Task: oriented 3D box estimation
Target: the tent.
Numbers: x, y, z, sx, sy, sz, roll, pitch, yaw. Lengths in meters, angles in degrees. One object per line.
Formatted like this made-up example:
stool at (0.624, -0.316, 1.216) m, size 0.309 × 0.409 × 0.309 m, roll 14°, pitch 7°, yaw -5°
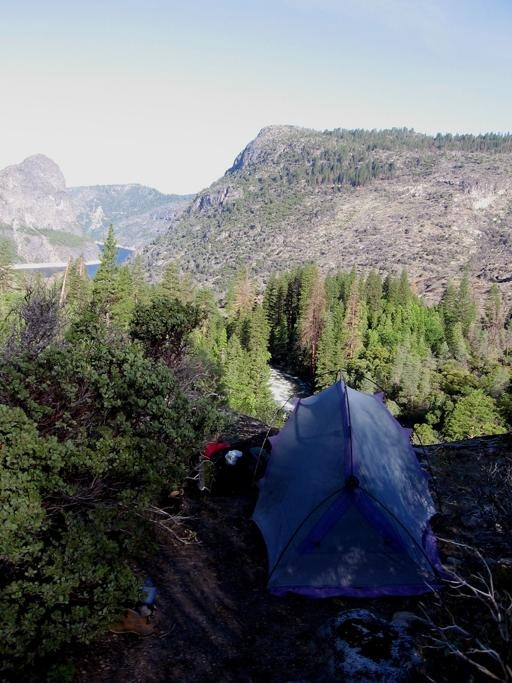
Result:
tent at (2.494, 3.018, 15.326) m, size 4.846 × 3.278 × 7.175 m, roll 0°, pitch 21°, yaw 8°
